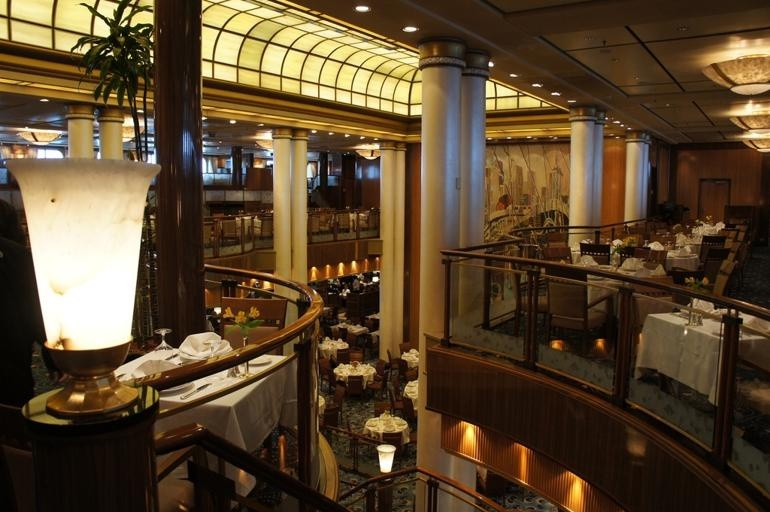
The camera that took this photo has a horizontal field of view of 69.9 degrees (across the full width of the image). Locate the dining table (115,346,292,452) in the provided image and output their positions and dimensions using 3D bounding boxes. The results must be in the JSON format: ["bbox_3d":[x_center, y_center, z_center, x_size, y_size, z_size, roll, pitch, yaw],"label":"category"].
[{"bbox_3d":[-0.898,0.794,3.286,0.614,0.217,0.619,4,8,26],"label":"dining table"}]

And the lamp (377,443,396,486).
[{"bbox_3d":[0.052,3.965,10.733,0.287,0.824,0.657,-2,8,-2],"label":"lamp"}]

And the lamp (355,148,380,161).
[{"bbox_3d":[-0.711,-4.163,22.463,0.829,0.319,0.833,1,8,14],"label":"lamp"}]

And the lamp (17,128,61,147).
[{"bbox_3d":[-10.721,-3.636,16.992,1.176,0.271,1.171,2,3,3],"label":"lamp"}]

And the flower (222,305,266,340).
[{"bbox_3d":[-1.152,0.555,4.643,0.351,0.282,0.351,-15,-14,38],"label":"flower"}]

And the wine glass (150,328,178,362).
[{"bbox_3d":[-1.641,0.664,4.131,0.224,0.209,0.207,0,2,-2],"label":"wine glass"}]

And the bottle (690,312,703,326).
[{"bbox_3d":[2.539,0.520,4.477,0.101,0.107,0.097,-6,9,-10],"label":"bottle"}]

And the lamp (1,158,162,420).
[{"bbox_3d":[-0.950,0.094,1.854,0.423,0.820,0.242,-7,10,-31],"label":"lamp"}]
